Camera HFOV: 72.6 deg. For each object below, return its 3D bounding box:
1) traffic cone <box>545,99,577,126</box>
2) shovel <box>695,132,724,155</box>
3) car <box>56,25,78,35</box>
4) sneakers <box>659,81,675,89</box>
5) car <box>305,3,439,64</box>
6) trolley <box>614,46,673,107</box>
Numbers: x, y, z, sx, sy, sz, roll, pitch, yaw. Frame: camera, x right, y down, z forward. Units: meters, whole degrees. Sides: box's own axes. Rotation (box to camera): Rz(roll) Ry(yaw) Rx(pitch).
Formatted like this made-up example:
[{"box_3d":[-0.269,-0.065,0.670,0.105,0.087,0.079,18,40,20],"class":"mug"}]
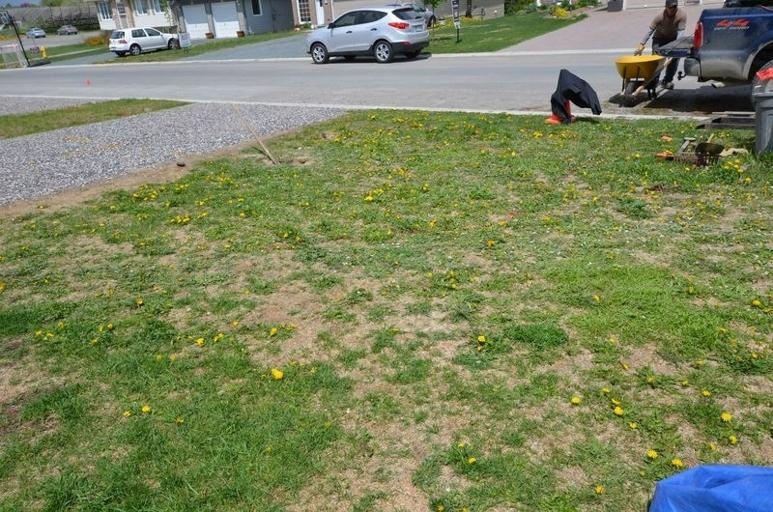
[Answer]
[{"box_3d":[4.021,-3.368,12.053,0.667,0.471,1.362,8,29,16],"class":"traffic cone"},{"box_3d":[5.673,-1.924,9.238,0.396,0.203,1.037,5,29,31],"class":"shovel"},{"box_3d":[-43.392,-30.690,71.929,1.949,1.108,4.583,-21,34,-33],"class":"car"},{"box_3d":[6.948,-4.271,13.058,0.172,0.183,0.434,1,31,8],"class":"sneakers"},{"box_3d":[-0.806,-9.844,23.687,4.961,2.206,2.772,13,37,20],"class":"car"},{"box_3d":[6.241,-4.606,12.725,0.808,0.966,2.895,7,40,33],"class":"trolley"}]
